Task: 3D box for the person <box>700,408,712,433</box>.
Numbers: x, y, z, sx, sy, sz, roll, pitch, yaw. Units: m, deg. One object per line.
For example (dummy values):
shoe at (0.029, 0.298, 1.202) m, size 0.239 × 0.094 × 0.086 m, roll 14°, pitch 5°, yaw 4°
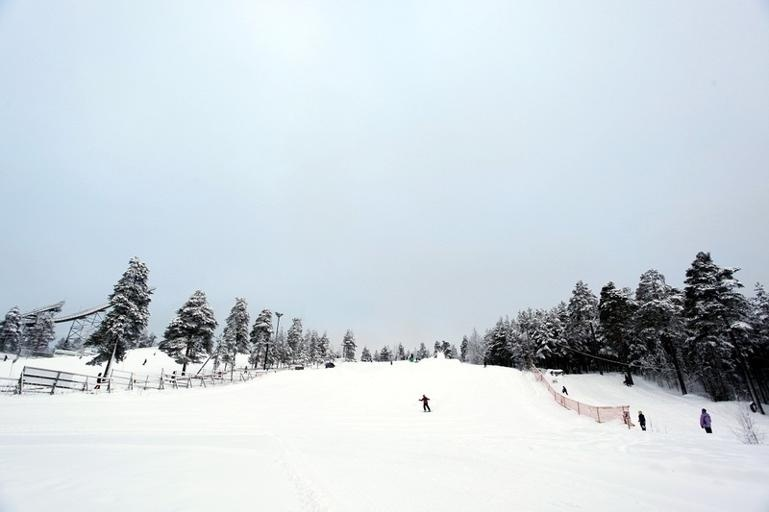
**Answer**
person at (20.676, 10.497, 25.119) m, size 0.479 × 1.378 × 2.213 m, roll -16°, pitch -27°, yaw 33°
